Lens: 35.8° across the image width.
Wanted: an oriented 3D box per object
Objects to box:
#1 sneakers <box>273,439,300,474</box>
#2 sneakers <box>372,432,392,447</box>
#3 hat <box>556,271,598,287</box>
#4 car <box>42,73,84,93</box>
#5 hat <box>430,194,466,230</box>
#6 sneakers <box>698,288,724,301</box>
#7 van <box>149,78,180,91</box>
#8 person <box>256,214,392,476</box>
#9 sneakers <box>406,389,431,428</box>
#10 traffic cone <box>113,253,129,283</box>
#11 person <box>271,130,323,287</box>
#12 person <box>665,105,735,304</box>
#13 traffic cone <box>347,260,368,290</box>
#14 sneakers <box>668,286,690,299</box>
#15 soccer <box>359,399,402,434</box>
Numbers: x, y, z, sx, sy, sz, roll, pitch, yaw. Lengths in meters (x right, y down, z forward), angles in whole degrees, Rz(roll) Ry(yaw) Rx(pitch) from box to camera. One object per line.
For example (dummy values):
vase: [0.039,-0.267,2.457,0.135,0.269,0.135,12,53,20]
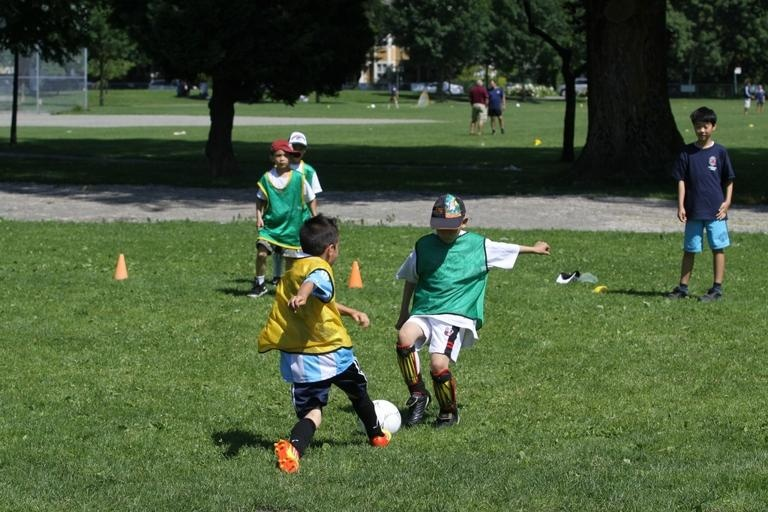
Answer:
sneakers: [-1.199,2.467,14.738,0.227,0.431,0.215,-25,-4,6]
sneakers: [-0.032,2.336,15.127,0.178,0.108,0.173,-6,23,27]
hat: [3.112,0.384,19.416,0.412,0.160,0.311,-5,-1,-41]
car: [-17.543,-9.218,64.475,2.544,0.843,1.687,-6,9,-31]
hat: [0.795,-0.610,15.311,0.418,0.326,0.665,1,24,11]
sneakers: [5.057,0.615,18.425,0.398,0.188,0.154,-10,5,-2]
van: [-20.525,-15.552,108.969,2.336,0.848,10.038,-3,8,-12]
person: [-0.852,1.083,14.768,1.421,3.093,0.563,-2,7,-10]
sneakers: [0.418,1.985,15.543,0.188,0.271,0.591,2,28,29]
traffic cone: [-4.383,0.179,19.690,0.227,0.365,0.798,-3,8,-13]
person: [-1.520,-0.528,18.669,1.099,2.781,0.801,2,16,-4]
person: [4.876,-0.783,18.256,0.894,2.945,0.541,1,7,13]
traffic cone: [-0.454,0.335,19.515,0.341,0.517,0.357,2,3,20]
sneakers: [4.603,0.597,18.583,0.336,0.159,0.153,1,3,4]
soccer: [-0.032,2.063,15.268,0.371,0.401,0.451,5,-26,4]
